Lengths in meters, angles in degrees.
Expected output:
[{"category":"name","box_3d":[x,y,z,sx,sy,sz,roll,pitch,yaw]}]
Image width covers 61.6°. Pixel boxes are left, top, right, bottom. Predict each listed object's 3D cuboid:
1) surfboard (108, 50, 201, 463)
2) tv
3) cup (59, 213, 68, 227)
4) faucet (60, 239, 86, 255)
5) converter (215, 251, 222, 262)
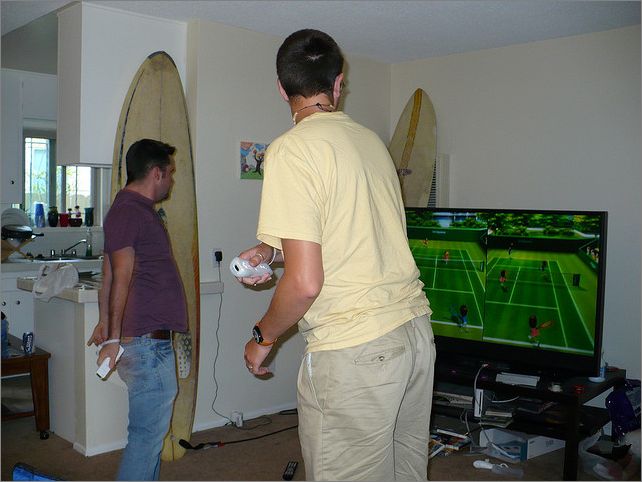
[{"category":"surfboard","box_3d":[-1.145,0.036,3.841,0.573,2.859,0.323,-3,2,-44]},{"category":"tv","box_3d":[1.243,0.346,3.456,1.079,0.799,0.297,5,10,35]},{"category":"cup","box_3d":[-2.809,-0.229,5.871,0.117,0.136,0.119,3,9,0]},{"category":"faucet","box_3d":[-2.686,0.062,5.835,0.257,0.156,0.061,-3,7,-35]},{"category":"converter","box_3d":[-0.746,0.113,3.956,0.032,0.081,0.082,4,6,30]}]
